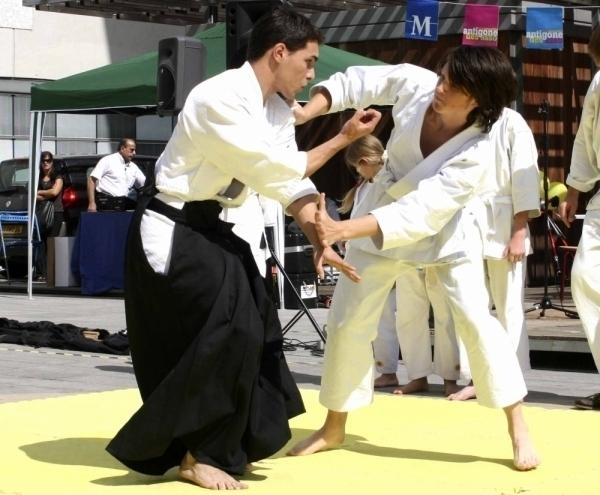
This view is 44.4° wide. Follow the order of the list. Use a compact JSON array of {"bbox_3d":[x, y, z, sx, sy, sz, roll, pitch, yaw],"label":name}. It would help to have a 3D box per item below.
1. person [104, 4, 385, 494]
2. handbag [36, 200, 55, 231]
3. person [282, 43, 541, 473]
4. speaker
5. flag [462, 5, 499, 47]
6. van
[{"bbox_3d":[-0.291,-0.002,2.828,0.880,1.867,0.395,0,3,-16],"label":"person"},{"bbox_3d":[-3.887,-0.484,11.297,0.264,0.424,0.395,1,-12,-1],"label":"handbag"},{"bbox_3d":[0.487,0.047,3.216,1.009,1.879,0.933,2,10,15],"label":"person"},{"bbox_3d":[-1.013,-1.438,6.179,0.365,0.604,0.349,9,9,36],"label":"speaker"},{"bbox_3d":[1.928,-2.372,7.856,0.338,0.413,0.666,1,3,11],"label":"flag"},{"bbox_3d":[-2.798,-0.391,9.225,1.625,1.490,2.897,2,6,42],"label":"van"}]
